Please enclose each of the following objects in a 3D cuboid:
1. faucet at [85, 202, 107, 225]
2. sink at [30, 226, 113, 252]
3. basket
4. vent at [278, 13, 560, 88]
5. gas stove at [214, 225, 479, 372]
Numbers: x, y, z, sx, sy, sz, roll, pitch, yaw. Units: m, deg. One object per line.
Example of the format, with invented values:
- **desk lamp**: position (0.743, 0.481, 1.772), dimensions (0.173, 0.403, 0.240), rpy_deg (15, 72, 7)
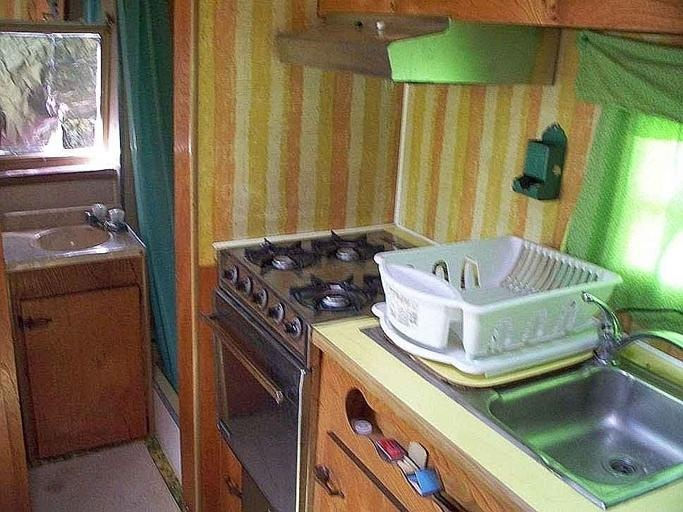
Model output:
- **faucet**: position (-1.440, -0.244, 3.183), dimensions (0.117, 0.109, 0.269), rpy_deg (-9, 20, -24)
- **sink**: position (-1.530, -0.085, 3.103), dimensions (0.391, 0.118, 0.250), rpy_deg (-8, 19, -21)
- **basket**: position (0.404, 0.099, 1.531), dimensions (0.601, 0.201, 0.431), rpy_deg (-8, 19, -21)
- **vent**: position (0.172, -0.674, 1.737), dimensions (0.847, 0.257, 0.540), rpy_deg (16, 24, 42)
- **gas stove**: position (-0.024, 0.083, 1.939), dimensions (0.562, 0.201, 0.553), rpy_deg (-7, 21, -26)
